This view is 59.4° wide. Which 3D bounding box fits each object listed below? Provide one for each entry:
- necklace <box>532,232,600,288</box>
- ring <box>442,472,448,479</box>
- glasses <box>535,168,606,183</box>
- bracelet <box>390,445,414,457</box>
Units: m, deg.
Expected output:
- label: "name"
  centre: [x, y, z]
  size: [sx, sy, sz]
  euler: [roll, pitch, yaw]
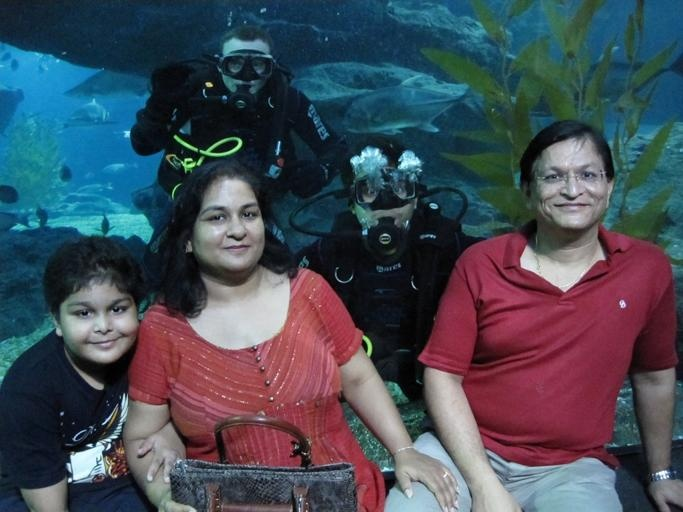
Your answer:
- label: "necklace"
  centre: [1.194, 0.032, 3.150]
  size: [0.203, 0.158, 0.232]
  euler: [10, 56, 18]
- label: "ring"
  centre: [0.525, 1.102, 3.002]
  size: [0.038, 0.024, 0.019]
  euler: [-11, 9, -39]
- label: "glasses"
  centre: [1.182, -0.401, 3.099]
  size: [0.329, 0.073, 0.083]
  euler: [-4, 8, 16]
- label: "bracelet"
  centre: [0.327, 1.007, 3.070]
  size: [0.074, 0.022, 0.062]
  euler: [-20, -8, 22]
